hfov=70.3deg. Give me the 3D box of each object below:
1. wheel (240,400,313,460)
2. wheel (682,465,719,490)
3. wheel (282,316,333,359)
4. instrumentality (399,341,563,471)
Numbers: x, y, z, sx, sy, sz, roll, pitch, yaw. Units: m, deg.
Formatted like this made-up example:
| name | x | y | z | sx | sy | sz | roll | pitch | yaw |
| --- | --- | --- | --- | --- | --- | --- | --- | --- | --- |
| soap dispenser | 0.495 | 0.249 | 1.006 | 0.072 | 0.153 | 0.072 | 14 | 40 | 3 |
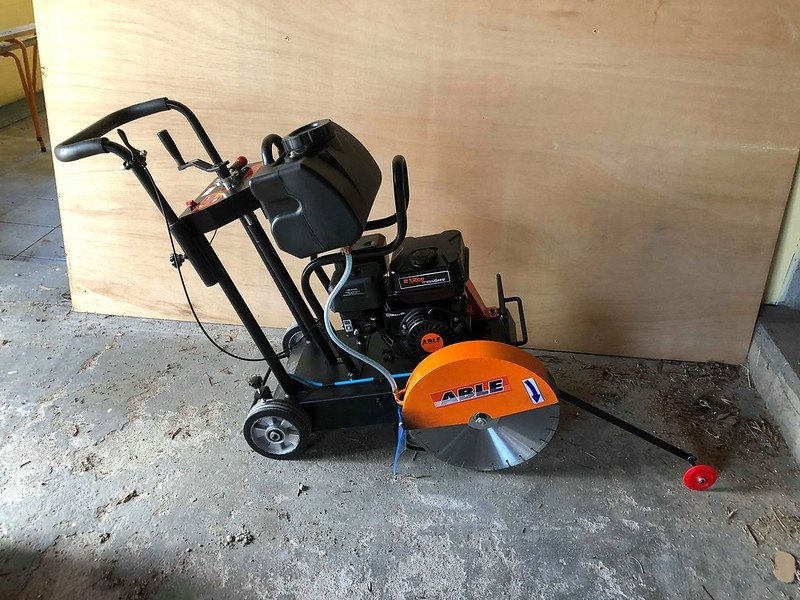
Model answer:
| name | x | y | z | sx | sy | sz | roll | pitch | yaw |
| --- | --- | --- | --- | --- | --- | --- | --- | --- | --- |
| wheel | -0.466 | 0.500 | 2.180 | 0.253 | 0.259 | 0.076 | -7 | 30 | 12 |
| wheel | 1.045 | 0.619 | 1.976 | 0.096 | 0.042 | 0.097 | -1 | 83 | 7 |
| wheel | -0.417 | 0.153 | 2.380 | 0.166 | 0.170 | 0.194 | 6 | 15 | 25 |
| instrumentality | 0.271 | 0.376 | 1.984 | 0.520 | 0.498 | 0.118 | -2 | 38 | 11 |
